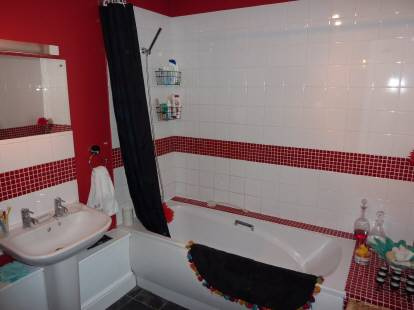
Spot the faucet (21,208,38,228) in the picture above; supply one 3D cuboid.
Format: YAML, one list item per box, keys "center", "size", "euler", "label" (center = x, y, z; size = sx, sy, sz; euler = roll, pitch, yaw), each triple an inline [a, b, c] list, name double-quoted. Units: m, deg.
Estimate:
- center: [-1.442, 0.490, 2.372]
  size: [0.107, 0.159, 0.187]
  euler: [-9, 15, -32]
  label: "faucet"

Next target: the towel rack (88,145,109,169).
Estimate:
- center: [-1.081, 0.012, 2.884]
  size: [0.042, 0.283, 0.210]
  euler: [6, 8, 29]
  label: "towel rack"

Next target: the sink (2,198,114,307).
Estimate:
- center: [-1.194, 0.839, 2.407]
  size: [0.618, 0.877, 0.710]
  euler: [9, 16, 37]
  label: "sink"

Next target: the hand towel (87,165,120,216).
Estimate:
- center: [-1.045, 0.353, 2.854]
  size: [0.321, 0.471, 0.308]
  euler: [6, -19, -30]
  label: "hand towel"

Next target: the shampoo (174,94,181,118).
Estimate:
- center: [-0.355, -0.590, 3.530]
  size: [0.076, 0.273, 0.215]
  euler: [-2, 13, -6]
  label: "shampoo"

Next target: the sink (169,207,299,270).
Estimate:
- center: [0.218, 0.873, 3.259]
  size: [1.491, 0.334, 0.507]
  euler: [9, 26, 25]
  label: "sink"

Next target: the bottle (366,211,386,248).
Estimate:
- center: [1.432, 0.645, 2.491]
  size: [0.147, 0.291, 0.181]
  euler: [2, 13, 13]
  label: "bottle"

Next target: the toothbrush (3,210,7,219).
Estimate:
- center: [-1.542, 0.445, 2.219]
  size: [0.012, 0.044, 0.044]
  euler: [-5, 2, -2]
  label: "toothbrush"

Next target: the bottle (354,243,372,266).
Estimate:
- center: [1.316, 0.847, 2.506]
  size: [0.117, 0.154, 0.171]
  euler: [1, 5, 29]
  label: "bottle"

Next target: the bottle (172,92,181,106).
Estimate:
- center: [-0.369, -0.671, 3.510]
  size: [0.099, 0.153, 0.219]
  euler: [-2, 13, -4]
  label: "bottle"
